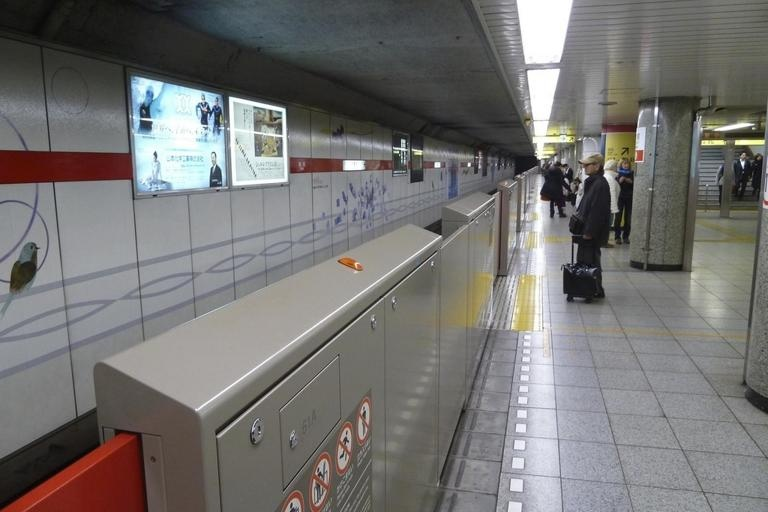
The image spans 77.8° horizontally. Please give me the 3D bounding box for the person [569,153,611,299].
[{"bbox_3d":[3.184,-0.420,7.389,0.578,2.247,0.752,4,16,24],"label":"person"}]
